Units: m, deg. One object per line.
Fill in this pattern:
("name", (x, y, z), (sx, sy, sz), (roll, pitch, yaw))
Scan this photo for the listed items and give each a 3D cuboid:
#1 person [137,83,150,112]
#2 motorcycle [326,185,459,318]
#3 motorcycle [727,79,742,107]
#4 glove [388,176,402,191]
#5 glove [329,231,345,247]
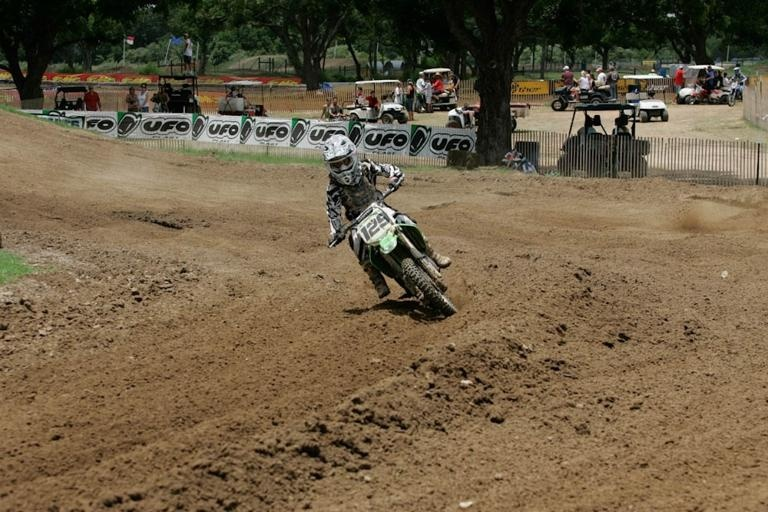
("person", (-9.664, -6.312, 36.530), (0.386, 1.101, 1.473), (1, 15, -14))
("motorcycle", (0.191, -0.112, 15.749), (1.673, 1.345, 2.676), (40, 3, -7))
("motorcycle", (17.672, -8.193, 45.910), (0.595, 1.171, 2.102), (11, 16, 23))
("glove", (0.179, -1.197, 15.376), (0.258, 0.186, 0.118), (40, -4, 4))
("glove", (-0.764, -0.253, 14.869), (0.203, 0.285, 0.121), (48, 11, 18))
